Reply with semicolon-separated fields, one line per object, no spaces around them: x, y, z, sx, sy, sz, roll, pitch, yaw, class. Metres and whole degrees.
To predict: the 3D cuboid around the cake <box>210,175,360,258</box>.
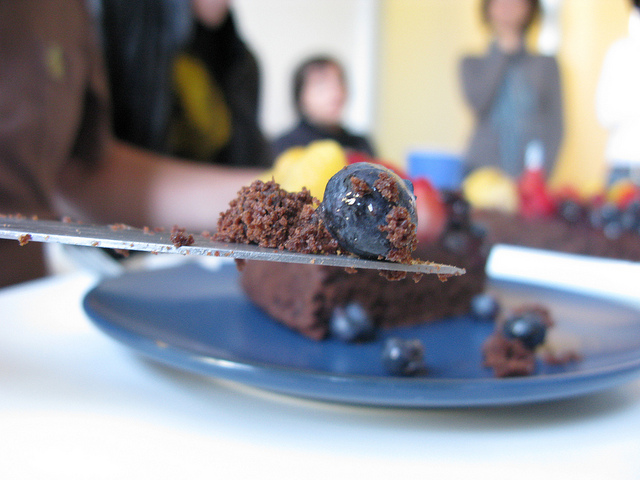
-0.074;-0.064;1.340;0.154;0.163;0.142;11;18;38;cake

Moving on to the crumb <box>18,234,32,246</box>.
-0.482;-0.004;1.339;0.018;0.010;0.025;-18;-15;-22;crumb

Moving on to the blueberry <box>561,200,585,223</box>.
0.563;-0.065;1.827;0.038;0.029;0.049;-2;12;-6;blueberry

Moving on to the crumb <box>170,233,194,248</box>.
-0.227;0.000;1.330;0.038;0.014;0.047;11;13;35;crumb

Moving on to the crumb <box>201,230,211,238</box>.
-0.200;-0.010;1.437;0.018;0.009;0.026;-1;3;-7;crumb

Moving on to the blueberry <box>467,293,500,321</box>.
0.353;0.147;1.765;0.045;0.051;0.061;-3;-3;-5;blueberry

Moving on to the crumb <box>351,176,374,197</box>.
0.069;-0.083;1.300;0.035;0.027;0.016;-19;-24;-24;crumb

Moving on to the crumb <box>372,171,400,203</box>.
0.107;-0.083;1.300;0.032;0.045;0.014;-30;1;-7;crumb

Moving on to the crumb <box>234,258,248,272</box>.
-0.139;0.042;1.466;0.020;0.026;0.028;0;-20;-20;crumb
